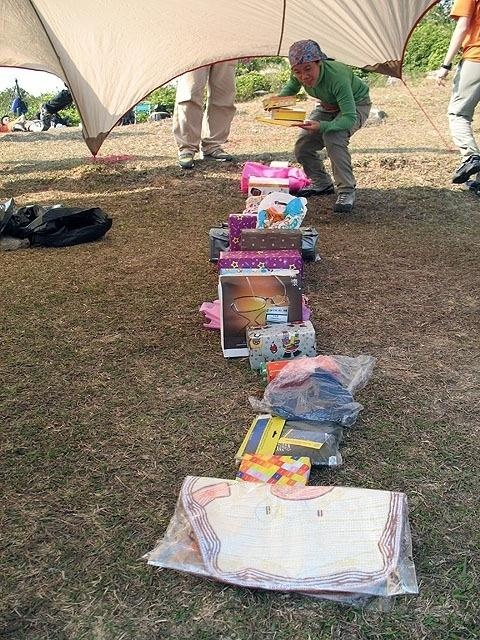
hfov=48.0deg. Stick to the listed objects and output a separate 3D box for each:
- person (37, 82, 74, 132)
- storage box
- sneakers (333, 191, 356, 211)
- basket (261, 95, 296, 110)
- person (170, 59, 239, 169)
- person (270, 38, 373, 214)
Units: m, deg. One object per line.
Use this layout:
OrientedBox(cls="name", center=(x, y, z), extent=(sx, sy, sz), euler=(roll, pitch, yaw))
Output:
OrientedBox(cls="person", center=(-4.123, -4.753, 12.029), extent=(0.734, 0.706, 2.993), euler=(-12, 27, -15))
OrientedBox(cls="storage box", center=(0.113, -0.214, 2.590), extent=(0.522, 0.791, 0.288), euler=(0, -13, -10))
OrientedBox(cls="sneakers", center=(0.844, -0.961, 4.390), extent=(0.091, 0.103, 0.256), euler=(8, 28, 18))
OrientedBox(cls="basket", center=(0.295, -1.658, 4.103), extent=(0.297, 0.093, 0.202), euler=(13, 30, 31))
OrientedBox(cls="person", center=(-0.352, -2.134, 5.624), extent=(0.673, 0.997, 0.772), euler=(18, 35, 37))
OrientedBox(cls="person", center=(0.656, -1.501, 4.248), extent=(0.693, 1.265, 0.987), euler=(2, 28, 12))
